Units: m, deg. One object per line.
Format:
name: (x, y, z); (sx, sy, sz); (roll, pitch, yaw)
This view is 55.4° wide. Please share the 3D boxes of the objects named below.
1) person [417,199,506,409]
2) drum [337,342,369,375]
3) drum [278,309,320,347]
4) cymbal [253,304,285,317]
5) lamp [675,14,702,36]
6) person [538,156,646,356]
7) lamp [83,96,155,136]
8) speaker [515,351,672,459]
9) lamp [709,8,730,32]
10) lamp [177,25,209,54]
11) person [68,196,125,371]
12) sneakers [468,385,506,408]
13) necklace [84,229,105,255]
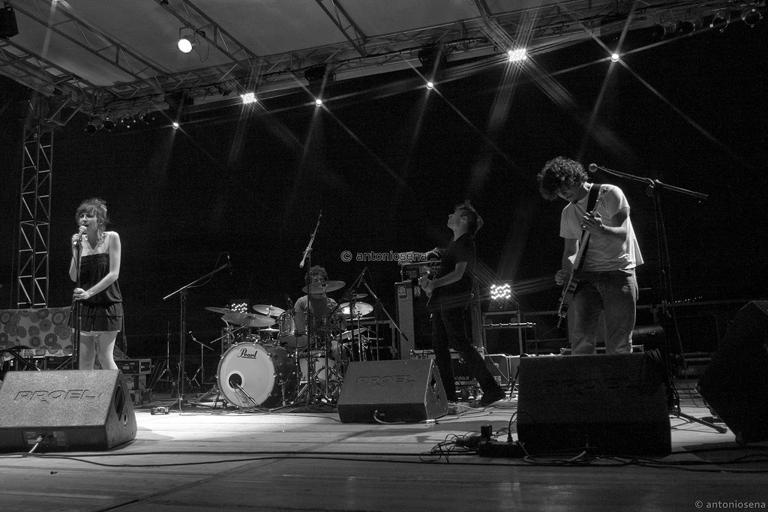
person: (0.892, 0.558, 8.260); (0.925, 2.212, 0.646); (3, 10, 30)
drum: (-0.412, 1.286, 9.198); (0.466, 0.247, 0.430); (0, 38, 0)
drum: (-1.107, 0.978, 9.482); (0.501, 0.355, 0.492); (1, -24, 0)
cymbal: (-1.614, 0.749, 9.931); (0.270, 0.131, 0.274); (-2, -10, 38)
lamp: (4.515, -3.422, 10.867); (0.342, 0.246, 0.315); (2, 9, 21)
person: (1.957, -0.023, 6.993); (0.886, 1.811, 0.734); (3, 10, 26)
lamp: (-4.939, -2.635, 13.934); (1.386, 0.625, 1.432); (-4, 9, -20)
speaker: (1.655, 1.204, 5.979); (1.163, 0.857, 0.775); (-3, -32, 10)
lamp: (4.971, -3.477, 10.875); (0.245, 0.261, 0.394); (2, 9, 22)
lamp: (-3.241, -3.662, 12.357); (0.339, 0.467, 0.603); (0, 26, -3)
person: (-2.923, 0.290, 7.407); (0.485, 1.672, 0.737); (-4, 9, -15)
sneakers: (1.095, 1.588, 8.162); (0.497, 0.203, 0.212); (-23, -10, 0)
necklace: (-2.982, -0.130, 7.517); (0.266, 0.247, 0.146); (0, -5, 1)
